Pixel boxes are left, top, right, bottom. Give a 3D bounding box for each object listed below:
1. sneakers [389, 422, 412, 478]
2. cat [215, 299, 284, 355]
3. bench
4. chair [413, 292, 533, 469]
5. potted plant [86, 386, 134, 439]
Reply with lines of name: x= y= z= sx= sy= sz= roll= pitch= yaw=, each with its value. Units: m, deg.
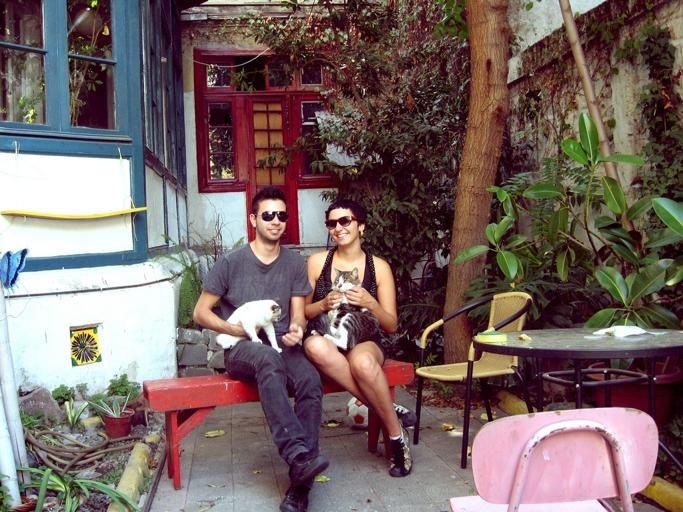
sneakers: x=0.404 y=1.325 z=3.839 sx=0.139 sy=0.384 sz=0.122 roll=6 pitch=-7 yaw=-44
cat: x=-0.583 y=0.476 z=3.879 sx=0.466 sy=0.398 sz=0.258 roll=-7 pitch=4 yaw=28
bench: x=-0.599 y=1.114 z=4.507 sx=1.803 sy=0.734 sz=2.030 roll=-5 pitch=5 yaw=-21
chair: x=1.042 y=0.900 z=4.373 sx=0.853 sy=1.245 sz=0.929 roll=-1 pitch=1 yaw=5
potted plant: x=-1.781 y=1.193 z=4.496 sx=0.395 sy=0.474 sz=0.276 roll=-1 pitch=6 yaw=-14
